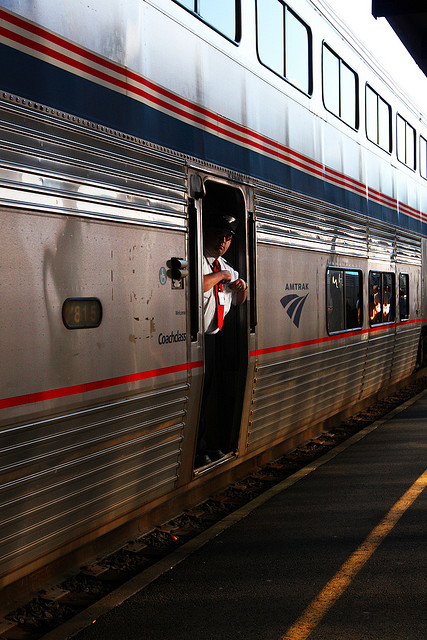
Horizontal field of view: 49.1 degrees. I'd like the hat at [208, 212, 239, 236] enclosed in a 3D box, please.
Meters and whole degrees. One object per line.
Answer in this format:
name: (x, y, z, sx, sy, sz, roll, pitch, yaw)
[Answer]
hat: (0.088, -0.841, 4.021, 0.163, 0.119, 0.227, 8, 19, -35)
